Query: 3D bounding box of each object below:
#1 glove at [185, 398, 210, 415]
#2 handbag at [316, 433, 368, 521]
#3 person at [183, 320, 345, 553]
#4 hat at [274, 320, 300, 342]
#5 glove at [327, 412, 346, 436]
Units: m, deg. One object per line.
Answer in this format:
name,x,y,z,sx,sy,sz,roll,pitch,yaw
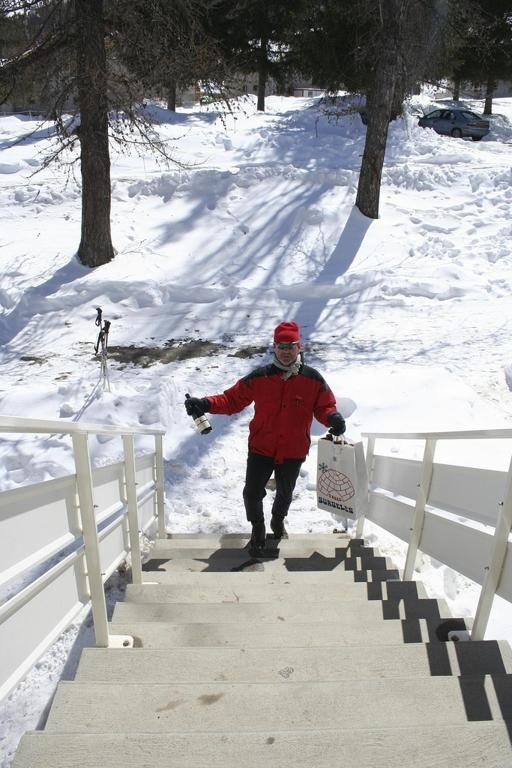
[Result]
glove,-0.326,0.152,3.730,0.061,0.060,0.142,44,2,-1
handbag,0.526,0.660,3.766,0.319,0.609,0.203,8,19,12
person,0.086,0.476,3.937,0.856,1.857,0.529,2,18,-6
hat,0.207,-0.376,3.790,0.138,0.145,0.171,4,20,-1
glove,0.506,0.279,3.781,0.100,0.056,0.157,7,55,-19
